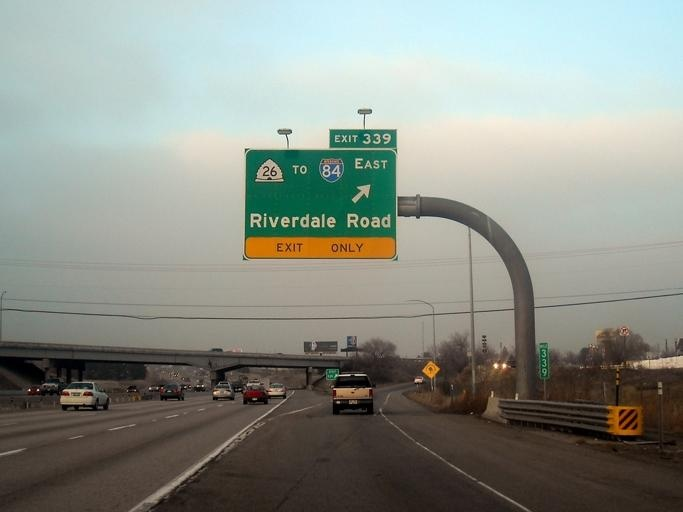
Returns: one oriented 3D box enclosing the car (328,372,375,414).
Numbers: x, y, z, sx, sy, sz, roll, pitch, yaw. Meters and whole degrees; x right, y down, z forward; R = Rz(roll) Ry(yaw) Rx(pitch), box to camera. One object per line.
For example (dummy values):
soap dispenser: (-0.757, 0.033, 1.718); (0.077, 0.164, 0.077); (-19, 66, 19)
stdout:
car: (0.568, 7.207, 45.131); (2.066, 2.066, 1.132); (0, -10, -5)
